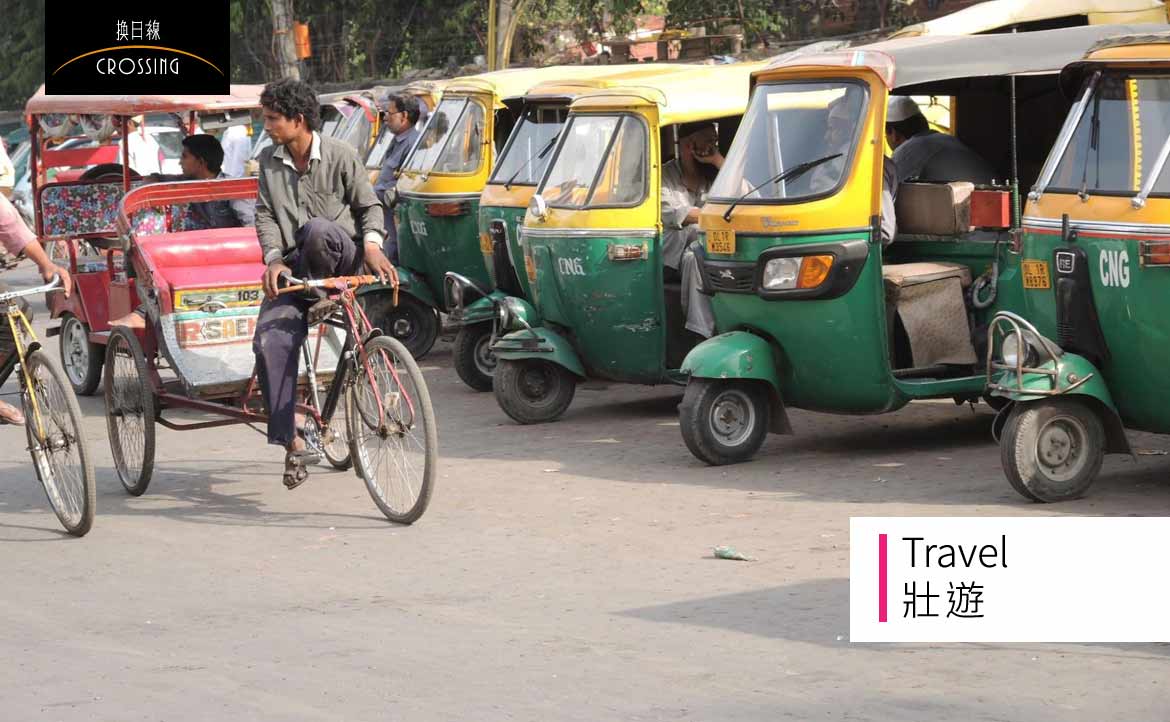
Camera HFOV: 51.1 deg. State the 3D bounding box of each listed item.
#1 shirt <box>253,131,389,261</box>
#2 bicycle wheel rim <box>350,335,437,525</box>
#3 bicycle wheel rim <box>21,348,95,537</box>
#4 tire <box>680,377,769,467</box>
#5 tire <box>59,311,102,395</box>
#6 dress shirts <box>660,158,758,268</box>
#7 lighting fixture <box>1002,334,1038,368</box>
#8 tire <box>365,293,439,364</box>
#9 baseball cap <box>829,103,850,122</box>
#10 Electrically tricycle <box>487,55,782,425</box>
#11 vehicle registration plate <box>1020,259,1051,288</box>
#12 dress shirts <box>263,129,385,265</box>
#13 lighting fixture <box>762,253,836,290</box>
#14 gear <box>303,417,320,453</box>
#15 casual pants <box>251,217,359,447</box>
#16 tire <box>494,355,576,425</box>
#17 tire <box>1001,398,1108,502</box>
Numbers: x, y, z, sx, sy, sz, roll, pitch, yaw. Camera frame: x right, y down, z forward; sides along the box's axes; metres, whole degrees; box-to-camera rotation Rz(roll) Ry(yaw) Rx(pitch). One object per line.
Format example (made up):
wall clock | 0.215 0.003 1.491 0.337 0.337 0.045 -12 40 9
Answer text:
shirt | -1.857 -1.150 8.527 1.112 1.042 0.898 -1 8 3
bicycle wheel rim | -1.280 0.448 8.042 0.242 1.254 0.983 -14 17 -40
bicycle wheel rim | -3.435 0.529 7.992 0.216 1.220 0.764 -14 17 -39
tire | 1.041 0.437 9.132 0.511 0.512 0.163 -46 20 -5
tire | -4.841 -0.089 11.749 0.205 0.646 0.613 0 -39 -40
dress shirts | 0.961 -1.138 9.662 0.631 0.479 1.053 -8 -9 -5
lighting fixture | 2.863 -0.068 8.051 0.121 0.185 0.169 -3 -24 -25
tire | -1.799 -0.363 11.817 0.869 0.748 0.306 1 4 -17
baseball cap | 1.834 -1.803 8.847 0.121 0.111 0.143 -5 -29 7
Electrically tricycle | 0.606 -1.210 11.449 3.542 2.974 2.240 -9 16 -33
vehicle registration plate | 3.032 -0.592 8.242 0.022 0.154 0.199 -13 13 -25
dress shirts | -1.826 -1.089 8.383 0.955 0.943 0.749 0 19 8
lighting fixture | 1.498 -0.629 8.745 0.384 0.121 0.263 -2 27 12
gear | -1.886 0.503 8.408 0.081 0.195 0.213 -17 22 -19
casual pants | -1.954 -0.238 8.141 0.966 1.368 0.657 11 3 -8
tire | -0.452 0.233 10.758 0.490 0.445 0.140 -37 5 -14
tire | 3.056 0.568 7.991 0.630 0.520 0.172 -17 9 -15
